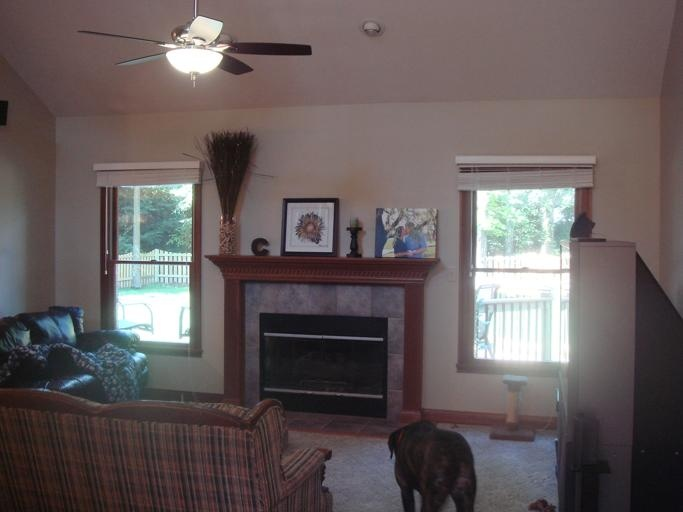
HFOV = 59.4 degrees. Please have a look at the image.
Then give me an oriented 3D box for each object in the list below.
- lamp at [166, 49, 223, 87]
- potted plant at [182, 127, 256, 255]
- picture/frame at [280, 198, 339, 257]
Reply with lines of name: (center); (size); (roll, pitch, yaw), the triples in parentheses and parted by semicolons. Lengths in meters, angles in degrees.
lamp: (-0.941, -1.181, 3.815); (0.279, 0.159, 0.259); (-12, -13, 40)
potted plant: (-1.088, -0.636, 5.848); (0.489, 1.254, 0.272); (2, -2, -11)
picture/frame: (-0.281, -0.263, 5.767); (0.514, 0.564, 0.039); (0, -6, 8)
